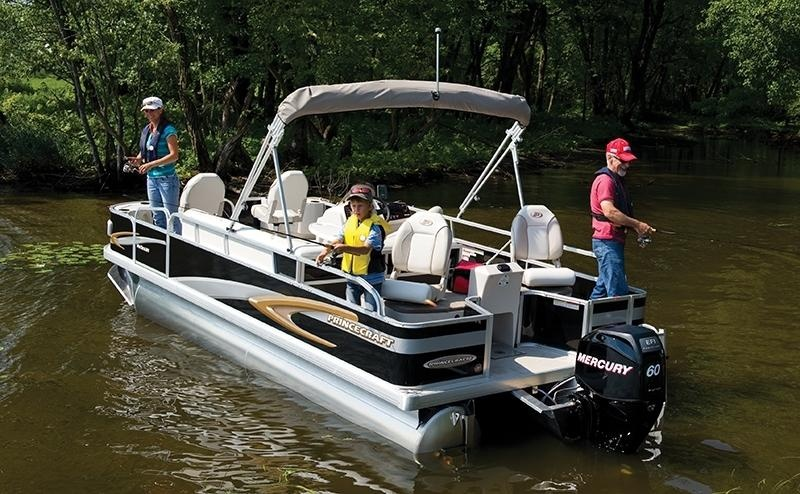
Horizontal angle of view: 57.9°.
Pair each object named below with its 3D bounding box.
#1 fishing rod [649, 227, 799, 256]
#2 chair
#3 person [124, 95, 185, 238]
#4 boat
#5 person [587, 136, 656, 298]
[{"bbox_3d":[6.874,-0.081,15.438,2.941,0.295,0.344,5,22,8],"label":"fishing rod"},{"bbox_3d":[-0.503,0.141,9.817,4.701,1.843,2.615,17,16,36],"label":"chair"},{"bbox_3d":[-3.572,-1.140,10.899,0.785,2.089,0.852,2,2,42],"label":"person"},{"bbox_3d":[0.733,-0.075,9.761,8.602,3.816,4.721,12,13,41],"label":"boat"},{"bbox_3d":[2.728,-0.161,9.288,0.905,2.304,1.046,-3,14,-5],"label":"person"}]
